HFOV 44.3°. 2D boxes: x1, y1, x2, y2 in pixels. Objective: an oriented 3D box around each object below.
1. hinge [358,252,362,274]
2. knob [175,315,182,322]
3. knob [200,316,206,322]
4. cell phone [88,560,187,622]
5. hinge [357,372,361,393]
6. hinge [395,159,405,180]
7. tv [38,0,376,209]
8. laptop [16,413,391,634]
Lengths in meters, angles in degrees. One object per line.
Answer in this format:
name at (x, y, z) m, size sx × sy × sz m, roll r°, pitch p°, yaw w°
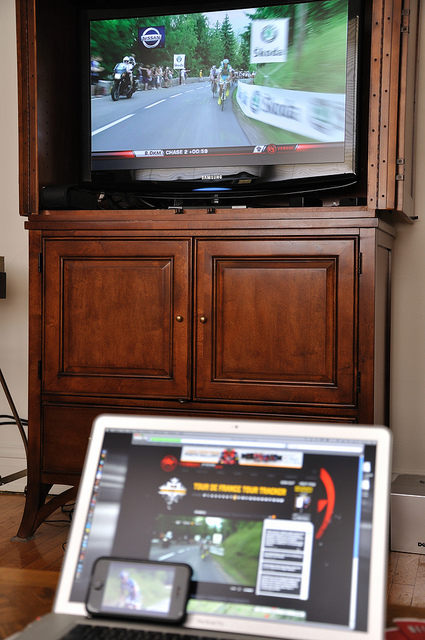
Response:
hinge at (0.491, -0.192, 1.752) m, size 0.012 × 0.068 × 0.025 m, roll 3°, pitch 18°, yaw 24°
knob at (-0.123, -0.007, 1.897) m, size 0.019 × 0.022 × 0.018 m, roll -1°, pitch 1°, yaw 13°
knob at (-0.036, -0.005, 1.878) m, size 0.016 × 0.016 × 0.015 m, roll 7°, pitch -8°, yaw 19°
cell phone at (-0.069, 0.262, 0.523) m, size 0.083 × 0.050 × 0.084 m, roll 4°, pitch -16°, yaw 11°
hinge at (0.489, 0.207, 1.753) m, size 0.010 × 0.062 × 0.020 m, roll 1°, pitch 17°, yaw 16°
hinge at (0.623, -0.507, 1.752) m, size 0.029 × 0.065 × 0.031 m, roll 2°, pitch 17°, yaw 19°
tv at (-0.046, -0.939, 2.126) m, size 1.298 × 0.882 × 0.514 m, roll 0°, pitch 17°, yaw 15°
laptop at (0.001, 0.207, 0.512) m, size 0.319 × 0.162 × 0.174 m, roll 2°, pitch 18°, yaw 20°
